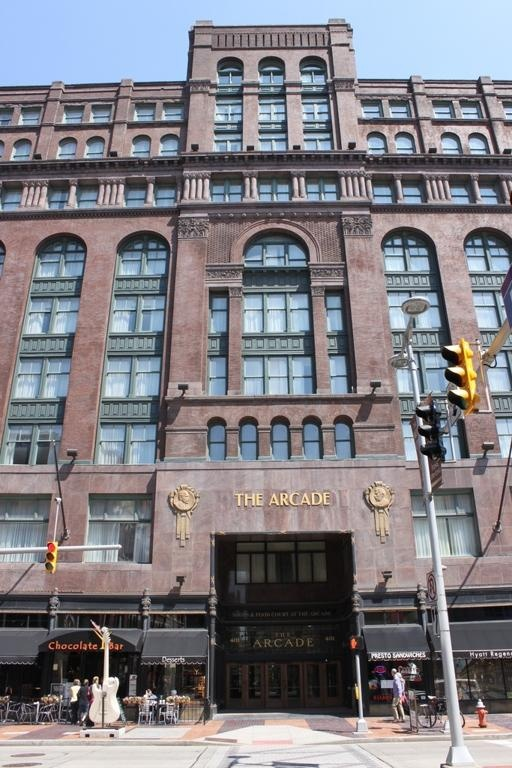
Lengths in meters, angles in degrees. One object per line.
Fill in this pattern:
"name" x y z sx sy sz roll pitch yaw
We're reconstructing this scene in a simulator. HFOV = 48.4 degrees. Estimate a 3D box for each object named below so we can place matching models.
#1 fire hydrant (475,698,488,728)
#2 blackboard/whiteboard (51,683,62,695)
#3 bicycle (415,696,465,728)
"fire hydrant" 6.978 10.196 17.698 0.250 0.719 1.384 -11 -35 14
"blackboard/whiteboard" -8.138 12.456 23.324 0.344 0.427 0.945 22 -40 -31
"bicycle" 5.480 10.185 17.861 0.770 1.013 2.166 -14 -36 18
